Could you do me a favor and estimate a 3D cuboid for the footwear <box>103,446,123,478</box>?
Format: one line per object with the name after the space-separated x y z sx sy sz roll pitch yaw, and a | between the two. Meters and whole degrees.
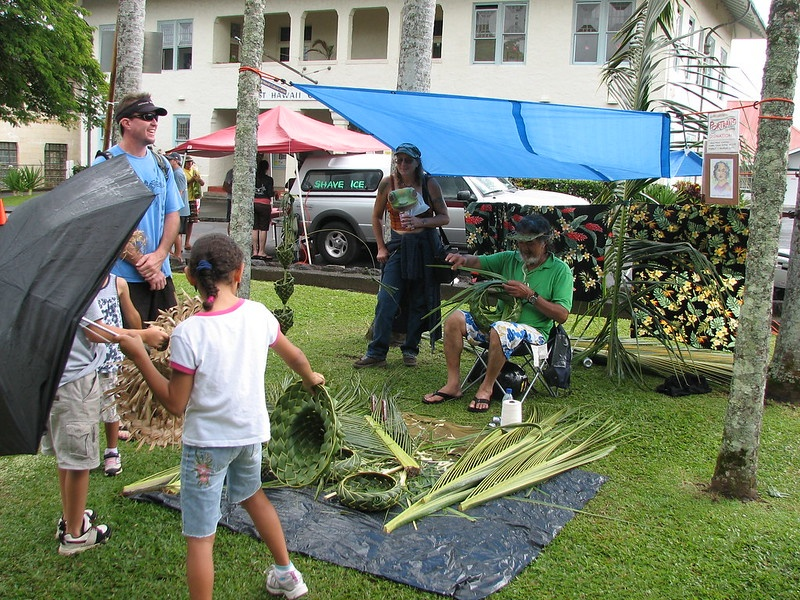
-1.769 0.981 3.774 0.075 0.108 0.223 0 3 -30 | footwear

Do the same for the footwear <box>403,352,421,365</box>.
0.095 0.549 5.898 0.117 0.084 0.225 0 -1 0 | footwear

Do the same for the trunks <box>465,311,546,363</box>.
0.857 0.261 4.929 0.436 0.204 0.439 11 -5 36 | trunks

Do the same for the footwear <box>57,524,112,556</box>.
-1.598 1.194 3.155 0.099 0.129 0.261 12 14 37 | footwear

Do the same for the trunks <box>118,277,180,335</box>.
-1.626 0.034 3.928 0.155 0.591 0.187 3 20 15 | trunks

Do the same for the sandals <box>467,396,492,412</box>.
0.618 0.812 4.879 0.180 0.081 0.139 0 14 -1 | sandals

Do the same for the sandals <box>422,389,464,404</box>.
0.318 0.766 5.030 0.273 0.072 0.109 1 -1 -24 | sandals

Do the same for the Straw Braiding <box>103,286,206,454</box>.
-1.881 0.437 4.378 0.338 1.043 0.949 4 2 24 | Straw Braiding

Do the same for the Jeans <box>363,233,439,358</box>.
0.057 -0.331 5.744 0.698 1.859 0.446 2 15 4 | Jeans

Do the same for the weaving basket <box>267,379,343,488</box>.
-0.531 0.704 3.384 0.186 0.541 0.515 1 31 -43 | weaving basket

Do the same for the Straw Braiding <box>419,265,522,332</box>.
0.639 0.001 5.272 0.691 0.574 0.240 -22 10 7 | Straw Braiding

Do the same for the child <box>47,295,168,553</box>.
-1.646 0.531 3.290 0.584 1.436 0.488 -4 -7 -33 | child

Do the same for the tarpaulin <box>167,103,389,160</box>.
-2.247 -3.086 11.430 3.072 0.782 3.156 5 13 15 | tarpaulin

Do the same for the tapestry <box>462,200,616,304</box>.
1.369 -0.478 5.988 1.030 0.808 0.143 3 4 16 | tapestry

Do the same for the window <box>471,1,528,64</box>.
3.026 -8.037 18.506 1.806 2.125 0.194 3 3 13 | window

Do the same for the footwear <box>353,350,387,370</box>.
-0.294 0.556 5.732 0.315 0.152 0.119 4 1 -19 | footwear

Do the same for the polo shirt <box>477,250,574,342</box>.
1.005 -0.033 5.058 0.651 0.500 0.229 10 7 34 | polo shirt

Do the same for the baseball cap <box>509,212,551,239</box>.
1.056 -0.594 4.985 0.242 0.138 0.183 17 24 33 | baseball cap

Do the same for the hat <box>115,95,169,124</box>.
-1.636 -1.198 3.889 0.275 0.155 0.190 -16 10 -5 | hat

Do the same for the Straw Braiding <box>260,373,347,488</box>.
-0.532 0.677 3.354 0.199 0.551 0.510 2 -11 -42 | Straw Braiding

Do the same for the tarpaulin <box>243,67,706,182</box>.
0.909 -1.378 5.255 2.781 0.731 0.802 1 14 0 | tarpaulin

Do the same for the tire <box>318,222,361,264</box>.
-1.099 -1.045 11.113 0.766 0.851 0.282 -1 5 24 | tire

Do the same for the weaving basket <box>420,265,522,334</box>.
0.632 0.008 5.287 0.701 0.579 0.237 -18 6 5 | weaving basket
